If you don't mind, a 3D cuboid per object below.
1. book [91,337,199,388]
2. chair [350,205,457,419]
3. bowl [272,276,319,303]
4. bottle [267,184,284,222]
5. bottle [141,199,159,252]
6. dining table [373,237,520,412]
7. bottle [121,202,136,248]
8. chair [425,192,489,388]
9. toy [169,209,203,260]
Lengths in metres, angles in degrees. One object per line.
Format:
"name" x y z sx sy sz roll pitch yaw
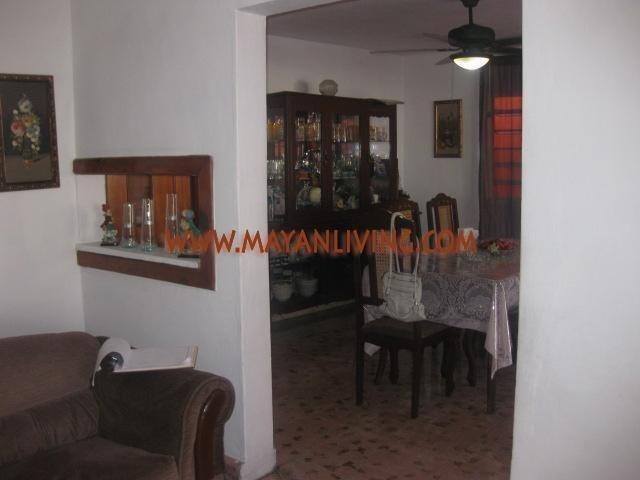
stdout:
"book" -0.840 0.574 2.411 0.337 0.111 0.260 3 8 -5
"chair" 0.546 0.453 3.378 0.648 1.309 0.721 -5 6 -25
"bowl" -0.249 0.476 4.764 0.354 0.150 0.203 -4 2 -9
"bottle" -0.419 -0.339 4.644 0.154 0.341 0.154 -2 6 0
"bottle" -1.040 -0.083 2.998 0.087 0.305 0.099 -3 6 -12
"dining table" 1.046 0.714 3.561 0.978 0.650 1.190 7 -13 42
"bottle" -1.219 -0.091 3.177 0.084 0.267 0.198 -4 7 -20
"chair" 1.384 0.334 4.627 0.525 1.560 0.579 -24 29 -38
"toy" -0.736 -0.043 2.803 0.134 0.256 0.145 -2 18 -3
